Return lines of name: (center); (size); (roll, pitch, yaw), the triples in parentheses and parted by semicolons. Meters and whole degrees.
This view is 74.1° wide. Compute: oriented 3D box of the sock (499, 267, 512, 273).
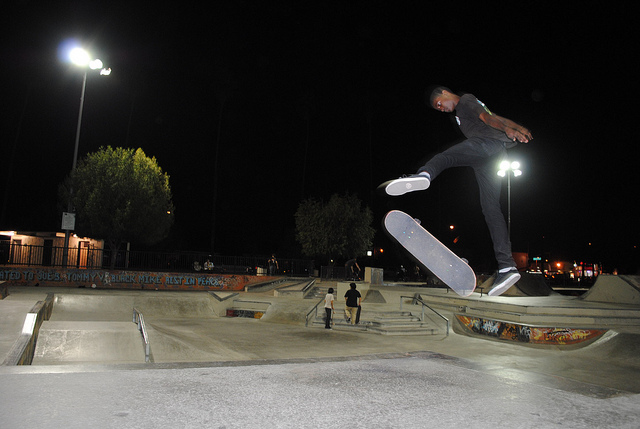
sock: (4.261, 1.258, 9.738); (0.048, 0.120, 0.277); (4, -4, -36)

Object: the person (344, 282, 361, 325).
person: (1.340, 3.640, 17.362); (0.565, 1.765, 1.438); (2, -3, -1)

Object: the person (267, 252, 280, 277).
person: (-3.657, 3.959, 33.115); (0.675, 2.058, 0.976); (-15, -20, 32)

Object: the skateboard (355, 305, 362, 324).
skateboard: (1.549, 4.136, 17.539); (0.175, 0.741, 0.468); (1, -3, 18)
